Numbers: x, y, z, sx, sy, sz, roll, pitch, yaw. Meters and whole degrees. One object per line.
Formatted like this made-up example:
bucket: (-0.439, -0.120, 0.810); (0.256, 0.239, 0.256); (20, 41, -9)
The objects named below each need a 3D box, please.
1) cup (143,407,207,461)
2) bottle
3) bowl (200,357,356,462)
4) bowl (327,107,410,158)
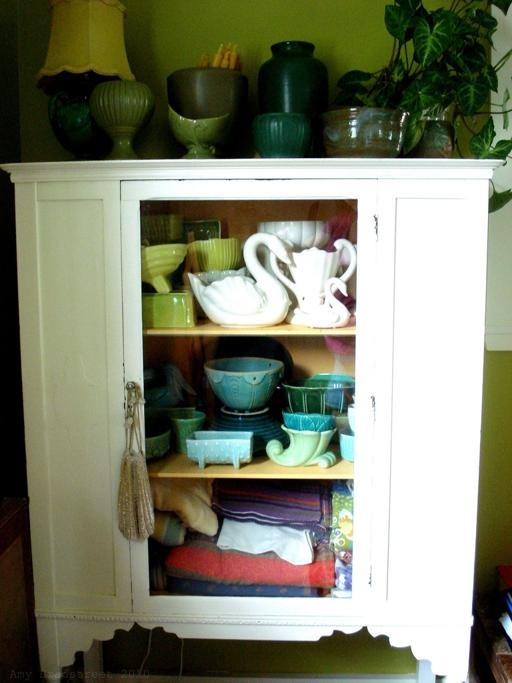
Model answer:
cup: (-0.168, 0.188, 1.271); (0.118, 0.079, 0.097); (1, 1, -4)
bottle: (-0.007, -0.502, 1.321); (0.360, 0.262, 0.216); (-2, 12, -1)
bowl: (0.035, 0.131, 1.308); (0.307, 0.183, 0.170); (2, 7, 27)
bowl: (0.221, -0.395, 1.195); (0.121, 0.058, 0.124); (-1, 16, 0)
